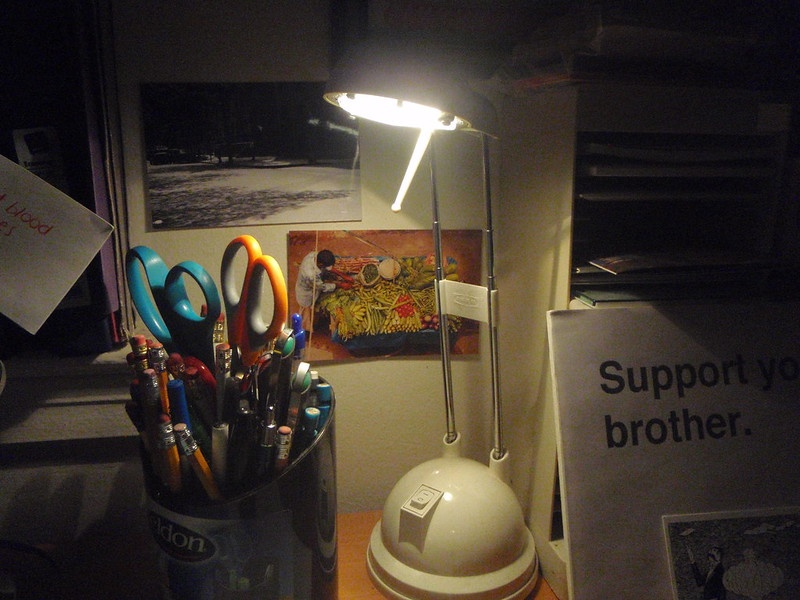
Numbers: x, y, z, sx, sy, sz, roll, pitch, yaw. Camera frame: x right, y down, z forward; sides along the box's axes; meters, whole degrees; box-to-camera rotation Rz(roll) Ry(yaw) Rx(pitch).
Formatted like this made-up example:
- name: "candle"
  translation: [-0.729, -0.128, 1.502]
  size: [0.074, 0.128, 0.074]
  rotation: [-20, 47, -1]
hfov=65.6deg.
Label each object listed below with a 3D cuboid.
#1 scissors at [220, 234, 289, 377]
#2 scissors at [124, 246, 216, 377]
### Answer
- name: "scissors"
  translation: [-0.228, 0.009, 0.944]
  size: [0.025, 0.183, 0.168]
  rotation: [-4, 28, -34]
- name: "scissors"
  translation: [-0.357, 0.021, 0.940]
  size: [0.176, 0.244, 0.031]
  rotation: [13, 22, 30]
